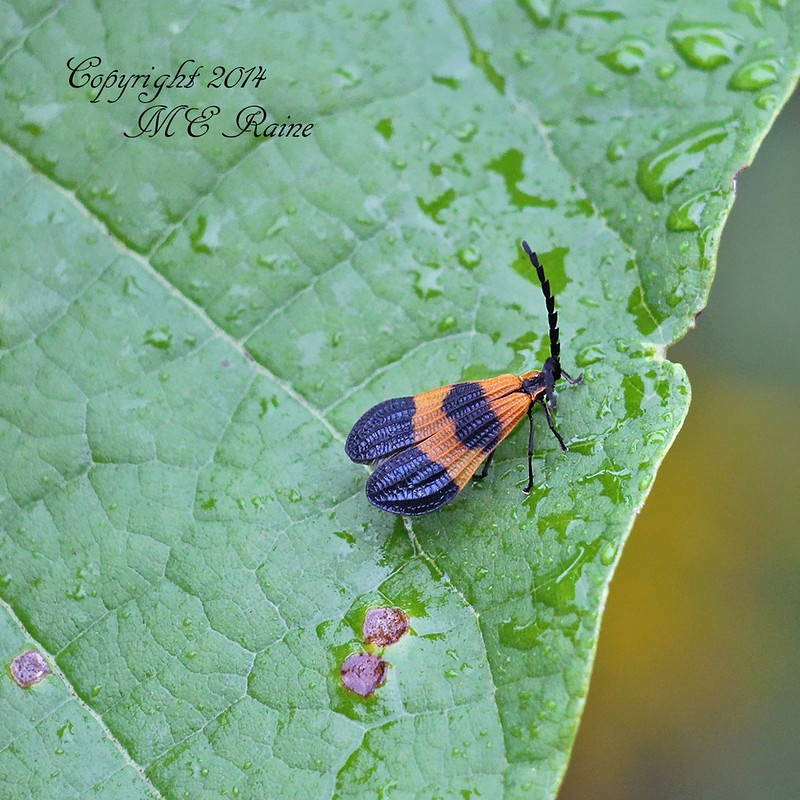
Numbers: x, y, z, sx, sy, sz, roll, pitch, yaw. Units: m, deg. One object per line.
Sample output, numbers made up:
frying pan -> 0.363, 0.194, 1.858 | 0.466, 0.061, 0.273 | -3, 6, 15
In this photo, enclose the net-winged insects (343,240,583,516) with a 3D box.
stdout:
net-winged insects -> 0.384, 0.166, 4.805 | 1.280, 0.292, 0.636 | -23, 66, -3
